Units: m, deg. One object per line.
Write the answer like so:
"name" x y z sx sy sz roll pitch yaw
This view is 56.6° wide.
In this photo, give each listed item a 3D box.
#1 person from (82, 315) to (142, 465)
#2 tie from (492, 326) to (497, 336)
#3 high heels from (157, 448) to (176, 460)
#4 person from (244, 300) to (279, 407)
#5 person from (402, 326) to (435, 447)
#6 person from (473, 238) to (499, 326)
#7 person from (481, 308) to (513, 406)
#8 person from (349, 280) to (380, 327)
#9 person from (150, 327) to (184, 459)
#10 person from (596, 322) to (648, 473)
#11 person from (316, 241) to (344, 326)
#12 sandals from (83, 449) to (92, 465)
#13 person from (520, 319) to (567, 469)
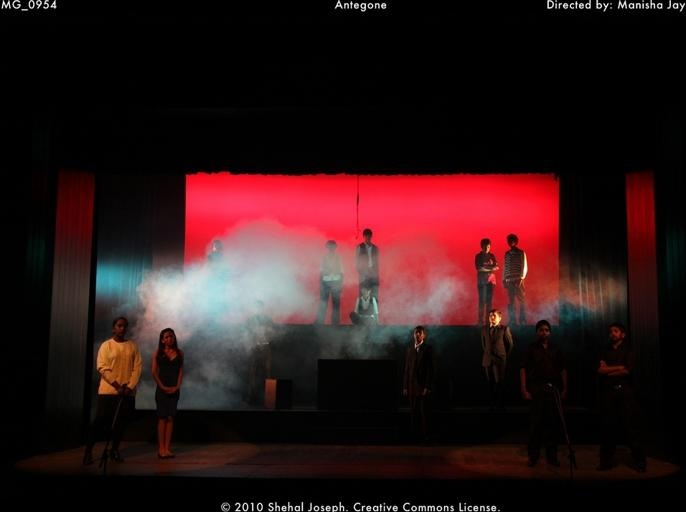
"person" -3.029 1.774 8.449 0.593 1.917 0.516 6 -10 -30
"tie" 2.513 1.228 10.615 0.029 0.087 0.123 8 -55 -17
"high heels" -2.405 2.734 8.816 0.287 0.129 0.100 -3 -8 6
"person" -1.445 1.685 11.258 0.464 1.800 0.804 2 -8 -8
"person" 1.160 1.940 9.699 0.441 1.737 0.538 0 -8 7
"person" 2.753 0.490 12.249 0.388 1.583 0.389 0 -8 8
"person" 2.592 1.712 10.719 0.474 1.584 0.583 -1 -9 13
"person" 0.420 0.911 12.142 0.532 0.757 0.669 1 -9 3
"person" -2.420 1.875 8.736 0.400 1.747 0.411 5 -9 -25
"person" 3.641 1.938 8.367 0.551 1.699 0.387 -2 -9 23
"person" -0.230 0.498 12.317 0.399 1.547 0.367 5 -9 -24
"sandals" -3.347 2.619 8.372 0.117 0.211 0.165 4 -9 -22
"person" 2.680 1.819 8.495 0.551 1.908 0.451 -2 -9 19
